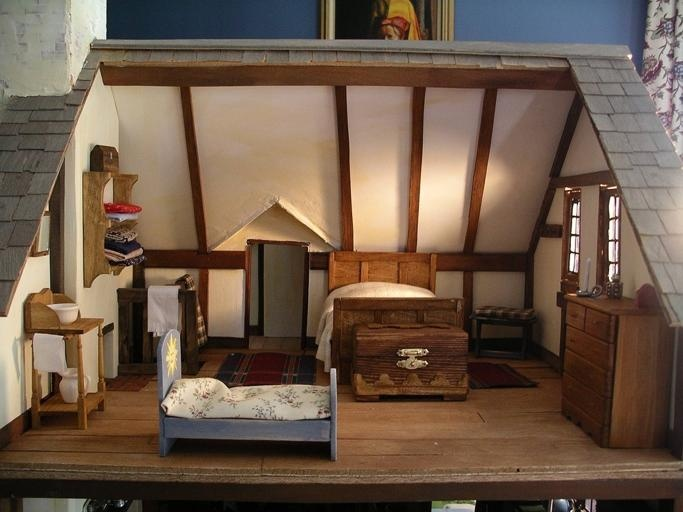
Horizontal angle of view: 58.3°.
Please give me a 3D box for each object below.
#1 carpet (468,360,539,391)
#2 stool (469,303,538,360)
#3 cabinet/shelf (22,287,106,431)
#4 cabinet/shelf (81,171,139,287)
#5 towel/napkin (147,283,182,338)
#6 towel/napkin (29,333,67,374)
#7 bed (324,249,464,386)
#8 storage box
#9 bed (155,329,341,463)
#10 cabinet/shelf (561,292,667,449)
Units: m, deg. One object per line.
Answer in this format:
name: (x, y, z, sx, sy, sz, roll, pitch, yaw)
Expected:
carpet: (1.530, 1.164, 6.071, 0.667, 0.061, 0.735, 1, 12, -1)
stool: (1.761, 0.847, 6.689, 0.687, 0.515, 0.702, 2, -5, 19)
cabinet/shelf: (-2.194, 0.786, 4.911, 0.503, 1.032, 0.670, 0, 12, -3)
cabinet/shelf: (-2.073, -0.254, 5.409, 0.353, 1.225, 1.080, 0, 3, -5)
towel/napkin: (-1.742, 0.539, 6.009, 0.313, 0.491, 0.268, 1, 12, -1)
towel/napkin: (-2.206, 0.726, 4.581, 0.323, 0.335, 0.112, 0, 2, 6)
bed: (0.471, 0.531, 6.593, 1.334, 1.112, 1.824, 0, 5, 0)
storage box: (0.607, 0.953, 5.662, 0.863, 0.498, 0.667, 0, 5, 0)
bed: (-0.680, 1.018, 4.723, 1.274, 0.828, 0.816, 0, 6, -3)
cabinet/shelf: (2.069, 0.875, 4.598, 0.668, 1.286, 1.099, 1, 4, 4)
